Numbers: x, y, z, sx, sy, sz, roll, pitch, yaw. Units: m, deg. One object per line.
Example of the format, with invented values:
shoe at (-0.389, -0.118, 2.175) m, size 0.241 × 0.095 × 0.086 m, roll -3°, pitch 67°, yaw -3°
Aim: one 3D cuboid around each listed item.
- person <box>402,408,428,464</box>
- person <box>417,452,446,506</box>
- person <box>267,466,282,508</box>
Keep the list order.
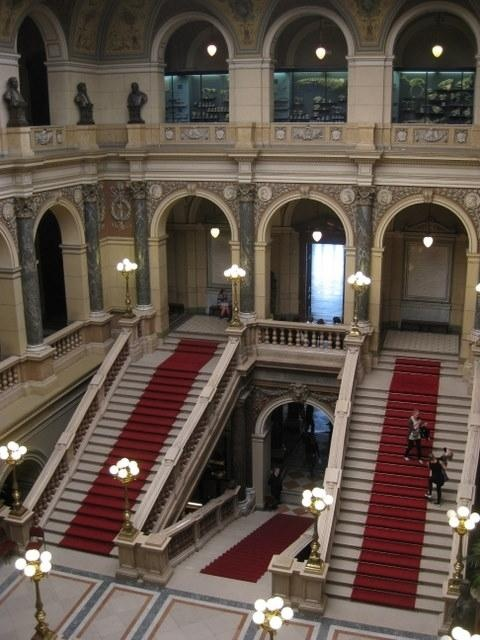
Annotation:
person at (3.548, 2.348, 10.284) m, size 0.440 × 1.051 × 0.384 m, roll 1°, pitch 11°, yaw 16°
person at (3.688, 2.926, 9.613) m, size 0.370 × 0.949 × 0.624 m, roll 2°, pitch 11°, yaw 21°
person at (1.031, 4.567, 14.078) m, size 0.424 × 1.368 × 0.355 m, roll 5°, pitch 28°, yaw 21°
